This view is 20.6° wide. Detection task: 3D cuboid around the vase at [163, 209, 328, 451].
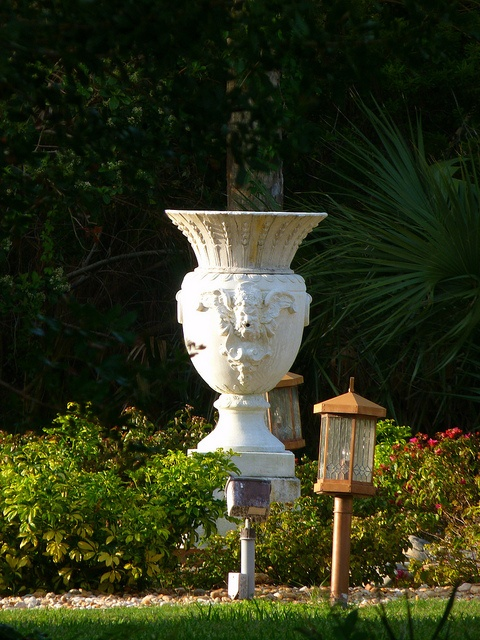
[{"bbox_3d":[0.022,0.063,7.394,0.838,1.350,0.500,0,4,0],"label":"vase"}]
